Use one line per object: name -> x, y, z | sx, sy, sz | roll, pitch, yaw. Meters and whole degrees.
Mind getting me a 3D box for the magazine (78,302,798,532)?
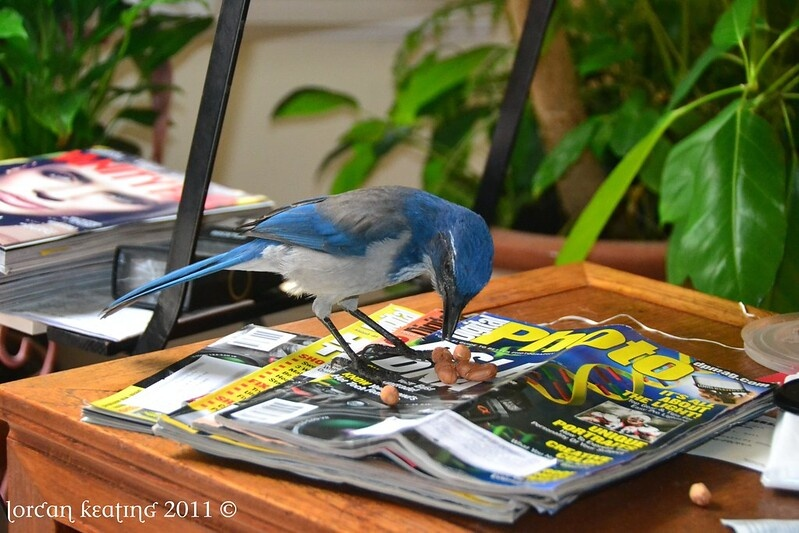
magazine -> 0.056, 0.146, 0.802 | 0.662, 0.134, 0.452 | 11, 12, 27
